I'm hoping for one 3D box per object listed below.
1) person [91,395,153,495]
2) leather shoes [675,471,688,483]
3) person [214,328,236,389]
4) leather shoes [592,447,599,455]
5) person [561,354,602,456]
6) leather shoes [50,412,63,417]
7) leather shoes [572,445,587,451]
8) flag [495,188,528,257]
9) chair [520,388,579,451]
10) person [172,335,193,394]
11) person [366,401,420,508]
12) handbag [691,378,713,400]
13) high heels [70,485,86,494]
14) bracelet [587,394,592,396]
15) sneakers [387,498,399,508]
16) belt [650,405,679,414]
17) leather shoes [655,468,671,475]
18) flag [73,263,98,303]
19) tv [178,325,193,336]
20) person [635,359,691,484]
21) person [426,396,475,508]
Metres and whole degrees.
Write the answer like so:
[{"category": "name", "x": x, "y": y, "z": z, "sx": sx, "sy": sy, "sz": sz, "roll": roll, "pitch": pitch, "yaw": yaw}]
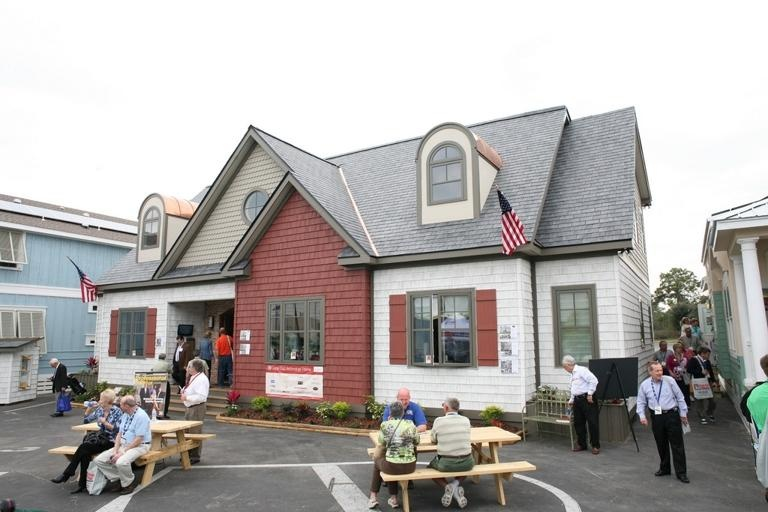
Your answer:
[{"category": "person", "x": -5.764, "y": 4.131, "z": 11.851, "sx": 1.012, "sy": 2.065, "sz": 0.675, "roll": 3, "pitch": -12, "yaw": -17}, {"category": "leather shoes", "x": 6.596, "y": 4.845, "z": 11.768, "sx": 0.242, "sy": 0.204, "sz": 0.244, "roll": -7, "pitch": -13, "yaw": 27}, {"category": "person", "x": -6.114, "y": 3.946, "z": 20.375, "sx": 0.607, "sy": 1.939, "sz": 1.052, "roll": 3, "pitch": -12, "yaw": -17}, {"category": "leather shoes", "x": 5.415, "y": 4.943, "z": 13.626, "sx": 0.162, "sy": 0.151, "sz": 0.266, "roll": -5, "pitch": -13, "yaw": 21}, {"category": "person", "x": 5.265, "y": 3.946, "z": 13.983, "sx": 0.737, "sy": 2.213, "sz": 0.686, "roll": -5, "pitch": -12, "yaw": 19}, {"category": "leather shoes", "x": -12.162, "y": 5.811, "z": 19.773, "sx": 0.552, "sy": 0.231, "sz": 0.190, "roll": -1, "pitch": -10, "yaw": 21}, {"category": "leather shoes", "x": 5.104, "y": 4.991, "z": 13.931, "sx": 0.406, "sy": 0.174, "sz": 0.130, "roll": 8, "pitch": -17, "yaw": -17}, {"category": "flag", "x": 3.749, "y": -0.957, "z": 15.484, "sx": 0.693, "sy": 1.651, "sz": 1.101, "roll": -4, "pitch": -12, "yaw": 15}, {"category": "chair", "x": 4.775, "y": 4.495, "z": 15.131, "sx": 0.813, "sy": 1.317, "sz": 1.385, "roll": -3, "pitch": -2, "yaw": -43}, {"category": "person", "x": -7.746, "y": 4.001, "z": 20.266, "sx": 0.720, "sy": 2.043, "sz": 0.579, "roll": 1, "pitch": 3, "yaw": 13}, {"category": "person", "x": 0.171, "y": 3.979, "z": 10.758, "sx": 0.936, "sy": 2.095, "sz": 0.501, "roll": -7, "pitch": -13, "yaw": 29}, {"category": "handbag", "x": 9.750, "y": 4.027, "z": 16.341, "sx": 0.533, "sy": 0.632, "sz": 0.320, "roll": -3, "pitch": -12, "yaw": 11}, {"category": "high heels", "x": -6.744, "y": 5.133, "z": 11.778, "sx": 0.380, "sy": 0.171, "sz": 0.128, "roll": 3, "pitch": -14, "yaw": 3}, {"category": "bracelet", "x": 5.340, "y": 3.566, "z": 13.768, "sx": 0.052, "sy": 0.052, "sz": 0.055, "roll": -8, "pitch": -11, "yaw": 41}, {"category": "sneakers", "x": 0.199, "y": 4.962, "z": 10.823, "sx": 0.131, "sy": 0.127, "sz": 0.277, "roll": 2, "pitch": -5, "yaw": -15}, {"category": "belt", "x": 6.351, "y": 3.443, "z": 12.051, "sx": 0.472, "sy": 0.198, "sz": 0.085, "roll": -3, "pitch": -12, "yaw": 9}, {"category": "leather shoes", "x": 6.359, "y": 4.880, "z": 12.125, "sx": 0.413, "sy": 0.153, "sz": 0.190, "roll": -1, "pitch": -12, "yaw": 1}, {"category": "flag", "x": -12.546, "y": 1.003, "z": 22.400, "sx": 0.848, "sy": 2.065, "sz": 0.236, "roll": -18, "pitch": -25, "yaw": -14}, {"category": "tv", "x": -8.278, "y": 3.038, "z": 22.116, "sx": 0.480, "sy": 0.336, "sz": 0.068, "roll": -5, "pitch": -11, "yaw": -46}, {"category": "person", "x": 6.413, "y": 3.706, "z": 12.237, "sx": 0.995, "sy": 2.616, "sz": 1.077, "roll": -7, "pitch": -13, "yaw": 27}, {"category": "person", "x": 1.402, "y": 4.027, "z": 11.050, "sx": 0.857, "sy": 2.152, "sz": 0.913, "roll": -3, "pitch": -12, "yaw": 11}]
